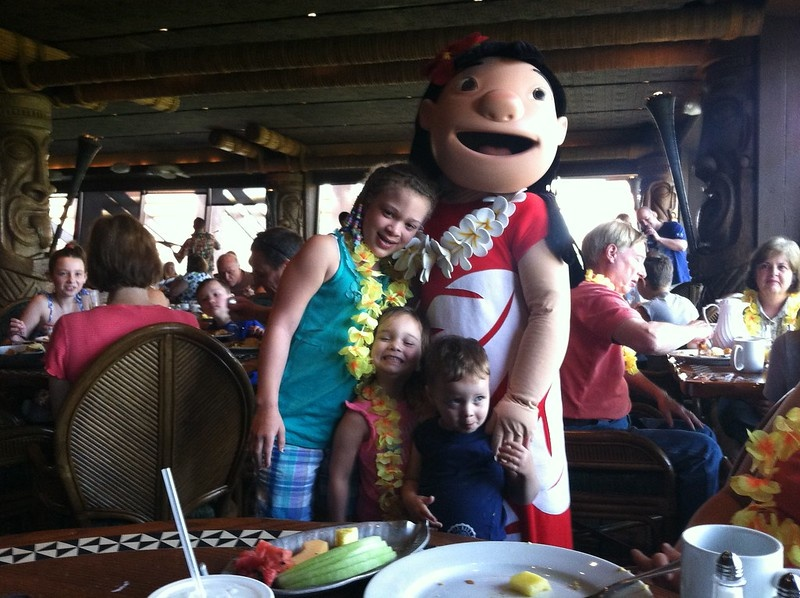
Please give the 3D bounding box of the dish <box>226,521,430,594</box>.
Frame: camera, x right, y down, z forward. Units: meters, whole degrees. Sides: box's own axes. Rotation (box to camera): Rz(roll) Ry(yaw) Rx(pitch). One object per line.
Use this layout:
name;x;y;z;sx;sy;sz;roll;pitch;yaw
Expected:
dish;-0.083;0.425;1.181;0.193;0.025;0.141;-12;-2;-21

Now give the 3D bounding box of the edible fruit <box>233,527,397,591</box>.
edible fruit;-0.144;0.433;1.122;0.186;0.047;0.104;1;1;-19

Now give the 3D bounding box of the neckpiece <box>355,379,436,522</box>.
neckpiece;-0.075;0.409;1.907;0.287;0.324;0.169;-14;5;-29

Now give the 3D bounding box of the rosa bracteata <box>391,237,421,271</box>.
rosa bracteata;0.018;-0.117;1.824;0.091;0.035;0.086;-35;-24;9

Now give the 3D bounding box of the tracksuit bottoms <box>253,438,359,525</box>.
tracksuit bottoms;-0.281;0.524;1.925;0.171;0.201;0.128;1;-3;-35

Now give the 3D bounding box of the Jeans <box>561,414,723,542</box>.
Jeans;0.840;0.587;2.314;0.523;0.450;0.353;-4;-8;5

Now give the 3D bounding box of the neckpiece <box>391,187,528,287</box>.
neckpiece;0.158;-0.150;1.822;0.307;0.253;0.092;13;3;9

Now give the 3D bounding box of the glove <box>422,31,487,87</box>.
glove;0.175;-0.636;1.861;0.046;0.157;0.135;23;33;-25

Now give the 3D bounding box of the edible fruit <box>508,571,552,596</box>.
edible fruit;0.203;0.449;1.071;0.041;0.013;0.041;9;-6;-33

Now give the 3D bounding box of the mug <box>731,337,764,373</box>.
mug;1.443;0.233;2.796;0.170;0.110;0.102;-10;12;-38

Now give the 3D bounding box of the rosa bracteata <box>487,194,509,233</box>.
rosa bracteata;0.266;-0.216;1.762;0.060;0.100;0.032;1;2;-2

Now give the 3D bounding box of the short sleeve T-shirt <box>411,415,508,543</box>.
short sleeve T-shirt;0.163;0.455;1.752;0.259;0.286;0.123;-8;-5;1

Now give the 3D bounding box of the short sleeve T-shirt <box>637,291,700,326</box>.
short sleeve T-shirt;1.398;0.047;3.533;0.216;0.170;0.104;0;-7;-16
